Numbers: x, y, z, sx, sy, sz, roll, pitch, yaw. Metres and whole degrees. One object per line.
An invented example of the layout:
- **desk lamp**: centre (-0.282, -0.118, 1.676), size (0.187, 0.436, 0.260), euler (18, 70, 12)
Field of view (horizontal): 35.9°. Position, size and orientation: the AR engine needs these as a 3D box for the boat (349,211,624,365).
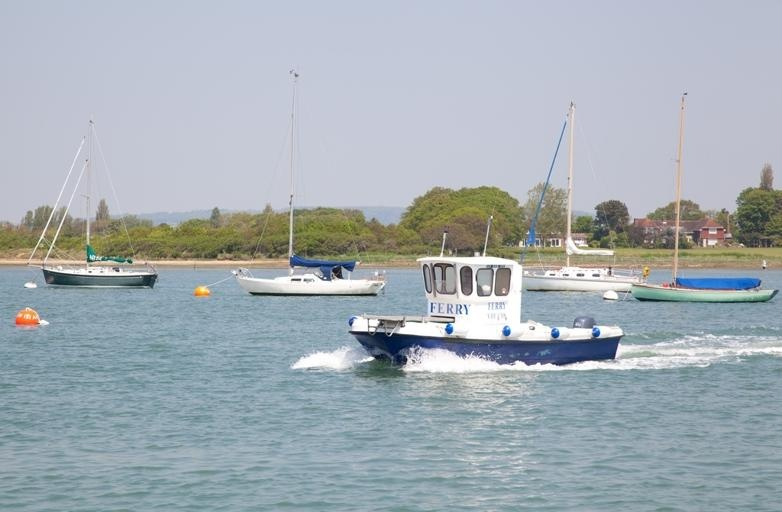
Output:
- **boat**: centre (4.699, 2.852, 62.529), size (12.779, 5.686, 2.565), euler (2, -2, -2)
